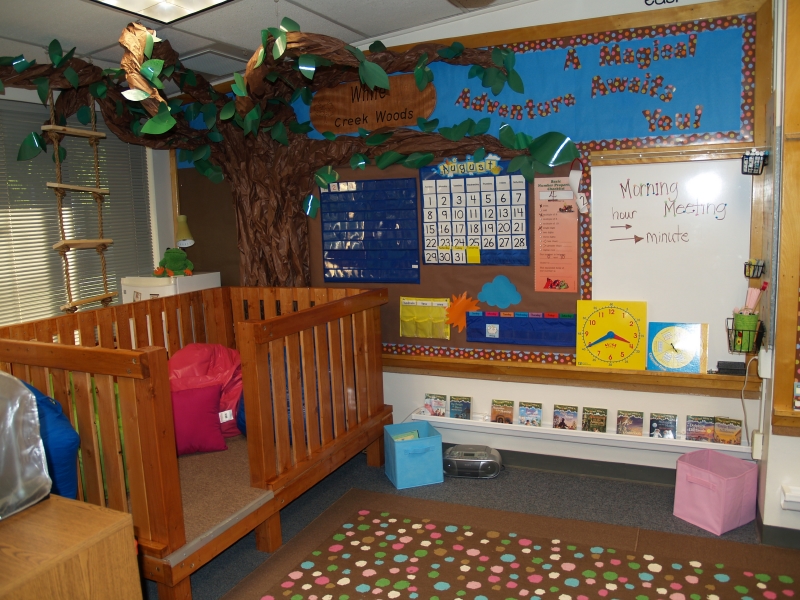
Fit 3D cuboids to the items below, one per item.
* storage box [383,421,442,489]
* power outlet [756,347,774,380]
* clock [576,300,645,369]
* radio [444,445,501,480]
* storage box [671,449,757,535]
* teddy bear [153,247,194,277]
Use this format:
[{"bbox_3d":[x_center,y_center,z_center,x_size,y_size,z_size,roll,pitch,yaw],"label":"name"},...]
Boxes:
[{"bbox_3d":[0.035,0.932,3.930,0.393,0.333,0.372,-4,10,-24],"label":"storage box"},{"bbox_3d":[1.925,0.329,3.268,0.072,0.168,0.206,3,6,20],"label":"power outlet"},{"bbox_3d":[1.302,0.202,3.779,0.474,0.434,0.032,2,3,24],"label":"clock"},{"bbox_3d":[0.462,1.019,3.926,0.356,0.148,0.172,-1,10,5],"label":"radio"},{"bbox_3d":[1.701,1.037,3.378,0.381,0.302,0.383,-2,9,-6],"label":"storage box"},{"bbox_3d":[-1.717,-0.298,4.767,0.235,0.130,0.265,4,11,-13],"label":"teddy bear"}]
